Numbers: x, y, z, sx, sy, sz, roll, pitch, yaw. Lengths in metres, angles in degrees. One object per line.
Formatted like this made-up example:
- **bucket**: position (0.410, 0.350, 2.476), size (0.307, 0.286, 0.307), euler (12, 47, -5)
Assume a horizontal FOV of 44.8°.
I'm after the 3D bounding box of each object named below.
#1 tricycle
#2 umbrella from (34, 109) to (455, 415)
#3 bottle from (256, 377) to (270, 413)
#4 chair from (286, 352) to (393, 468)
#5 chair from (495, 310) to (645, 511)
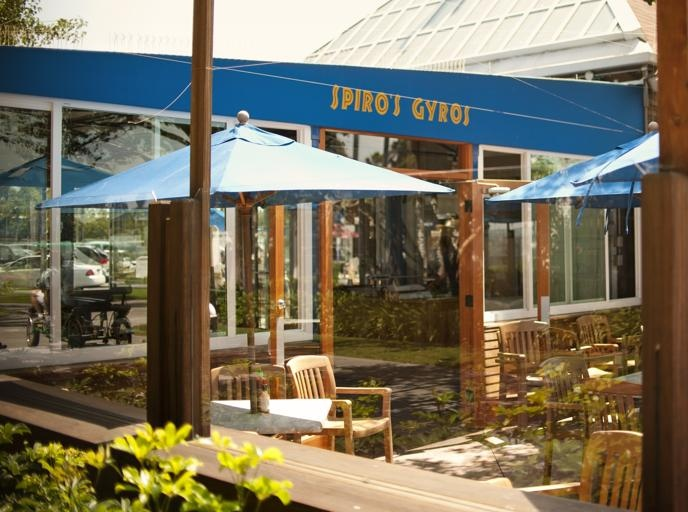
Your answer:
- **tricycle**: position (-1.541, 0.373, 4.927), size (0.365, 0.545, 0.854), euler (3, -1, -42)
- **umbrella**: position (-0.598, -0.023, 5.306), size (1.739, 1.547, 1.820), euler (1, 4, 22)
- **bottle**: position (-0.402, 0.697, 4.179), size (0.040, 0.147, 0.098), euler (0, -2, -3)
- **chair**: position (-0.008, 0.861, 4.314), size (0.515, 0.708, 0.566), euler (-4, -4, -19)
- **chair**: position (0.943, 0.604, 3.505), size (0.463, 0.885, 0.538), euler (-1, -3, 38)
